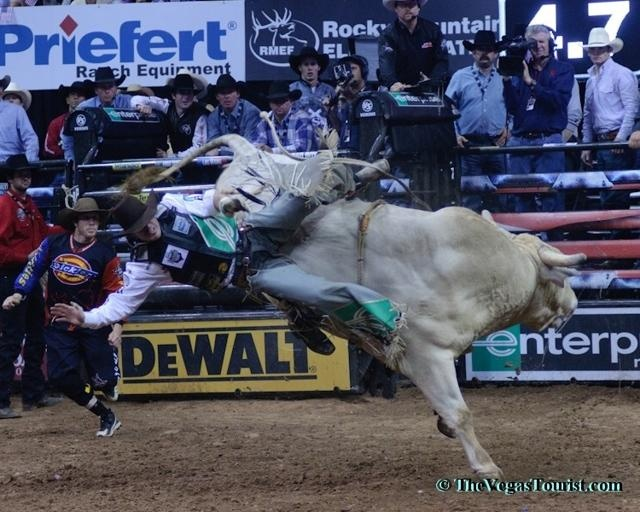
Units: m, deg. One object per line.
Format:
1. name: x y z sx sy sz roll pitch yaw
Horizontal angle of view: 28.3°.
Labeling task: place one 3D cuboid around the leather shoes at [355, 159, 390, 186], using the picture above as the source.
1. leather shoes: 0.458 -0.764 11.458 0.317 0.175 0.119 -29 -32 11

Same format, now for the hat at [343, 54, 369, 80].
1. hat: 0.433 -2.158 14.673 0.342 0.278 0.168 -10 15 -42

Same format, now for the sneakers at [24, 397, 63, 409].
1. sneakers: -3.117 1.635 14.225 0.385 0.118 0.119 -6 11 -26

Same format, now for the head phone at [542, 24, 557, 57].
1. head phone: 2.704 -2.484 14.823 0.177 0.366 0.416 2 11 10

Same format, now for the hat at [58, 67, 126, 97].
1. hat: -2.780 -2.085 15.470 0.588 0.129 0.410 -19 -5 26

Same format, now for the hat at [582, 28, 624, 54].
1. hat: 3.298 -2.474 14.732 0.335 0.125 0.363 -14 -26 35

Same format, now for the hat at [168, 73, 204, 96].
1. hat: -1.624 -2.058 15.326 0.451 0.293 0.677 1 10 7

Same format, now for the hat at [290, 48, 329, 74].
1. hat: -0.122 -2.312 15.165 0.473 0.317 0.289 0 11 -1

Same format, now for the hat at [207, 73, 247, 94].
1. hat: -1.074 -2.013 15.134 0.327 0.112 0.330 -4 -1 8

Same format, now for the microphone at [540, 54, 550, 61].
1. microphone: 2.599 -2.272 14.637 0.121 0.057 0.059 -1 11 -5

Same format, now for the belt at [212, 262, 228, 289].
1. belt: -0.848 0.172 11.068 0.089 0.194 0.168 18 8 31

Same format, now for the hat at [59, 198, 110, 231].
1. hat: -2.362 -0.499 12.827 0.478 0.158 0.504 -3 -6 -19

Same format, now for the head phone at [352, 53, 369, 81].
1. head phone: 0.505 -2.170 14.636 0.115 0.233 0.215 -4 -6 17

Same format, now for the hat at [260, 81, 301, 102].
1. hat: -0.402 -1.893 14.748 0.262 0.236 0.463 9 14 40

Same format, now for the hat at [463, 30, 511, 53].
1. hat: 1.972 -2.465 14.744 0.461 0.141 0.423 1 -10 7
